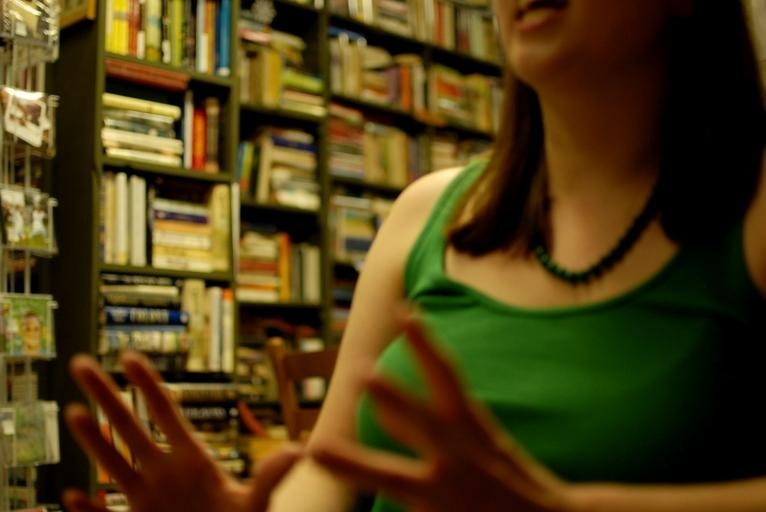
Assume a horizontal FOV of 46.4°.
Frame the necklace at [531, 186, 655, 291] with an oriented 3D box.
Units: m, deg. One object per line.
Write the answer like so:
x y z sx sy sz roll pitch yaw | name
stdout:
0.209 -0.029 0.886 0.021 0.107 0.090 34 10 -34 | necklace

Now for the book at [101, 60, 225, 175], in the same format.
-0.791 -0.491 3.319 0.293 0.155 0.411 -13 -16 33 | book

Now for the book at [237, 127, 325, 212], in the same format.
-0.418 -0.355 3.721 0.315 0.355 0.106 -2 0 -39 | book

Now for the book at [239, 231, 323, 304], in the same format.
-0.422 0.057 3.700 0.339 0.399 0.257 6 -11 -34 | book
